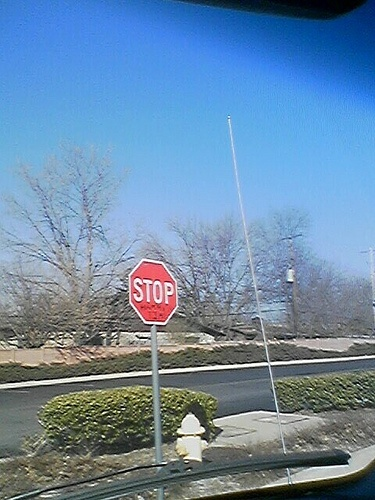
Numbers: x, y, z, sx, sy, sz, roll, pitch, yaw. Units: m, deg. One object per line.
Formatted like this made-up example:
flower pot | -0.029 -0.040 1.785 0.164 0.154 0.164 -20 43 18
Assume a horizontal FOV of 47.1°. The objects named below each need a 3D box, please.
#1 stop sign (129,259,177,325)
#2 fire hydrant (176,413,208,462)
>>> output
stop sign | -0.245 0.289 2.986 0.155 0.459 0.465 -11 -10 37
fire hydrant | 0.013 2.151 4.969 0.353 0.448 0.323 4 -12 -6
